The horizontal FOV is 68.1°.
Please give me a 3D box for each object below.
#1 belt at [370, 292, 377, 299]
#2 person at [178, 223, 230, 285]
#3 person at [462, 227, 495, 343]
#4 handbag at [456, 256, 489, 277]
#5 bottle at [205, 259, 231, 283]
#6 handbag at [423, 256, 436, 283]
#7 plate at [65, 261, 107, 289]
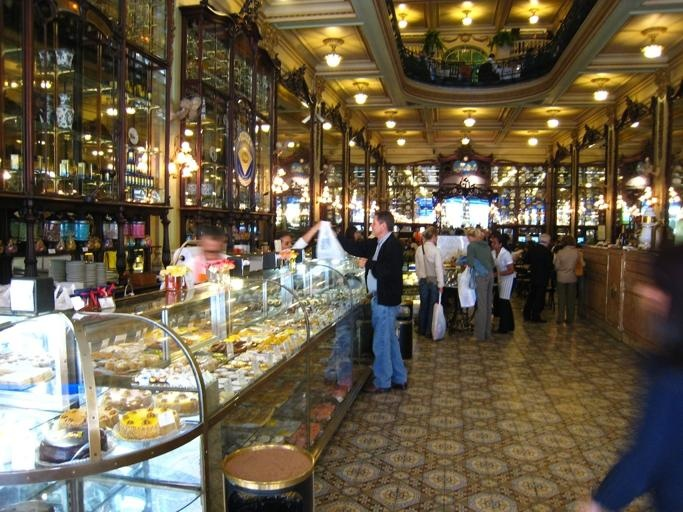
[{"bbox_3d":[0.378,0.480,5.974,0.090,0.043,0.126,1,2,7],"label":"belt"},{"bbox_3d":[-1.361,-0.026,5.006,0.514,0.736,0.680,3,1,-4],"label":"person"},{"bbox_3d":[2.220,0.540,8.140,0.418,1.576,0.319,2,5,17],"label":"person"},{"bbox_3d":[2.095,0.139,8.262,0.346,0.304,0.688,-2,6,-20],"label":"handbag"},{"bbox_3d":[-1.035,0.128,4.230,0.189,0.205,0.199,1,-2,-2],"label":"bottle"},{"bbox_3d":[1.373,0.203,7.861,0.196,0.416,0.180,2,5,15],"label":"handbag"},{"bbox_3d":[-2.463,0.167,4.970,0.356,0.352,0.368,7,6,42],"label":"plate"}]
